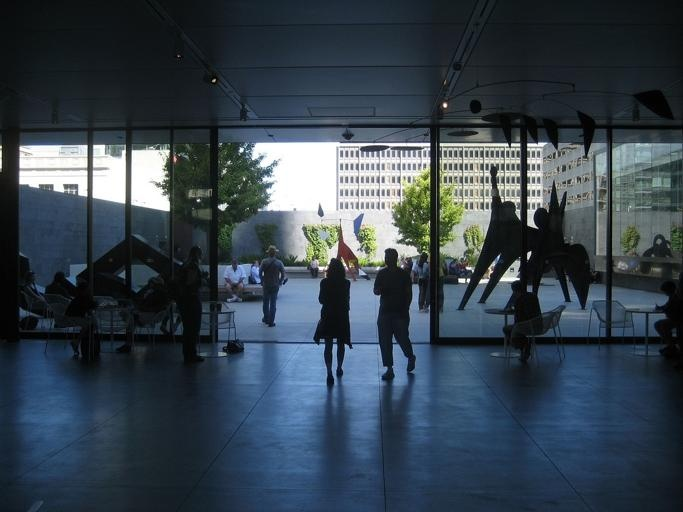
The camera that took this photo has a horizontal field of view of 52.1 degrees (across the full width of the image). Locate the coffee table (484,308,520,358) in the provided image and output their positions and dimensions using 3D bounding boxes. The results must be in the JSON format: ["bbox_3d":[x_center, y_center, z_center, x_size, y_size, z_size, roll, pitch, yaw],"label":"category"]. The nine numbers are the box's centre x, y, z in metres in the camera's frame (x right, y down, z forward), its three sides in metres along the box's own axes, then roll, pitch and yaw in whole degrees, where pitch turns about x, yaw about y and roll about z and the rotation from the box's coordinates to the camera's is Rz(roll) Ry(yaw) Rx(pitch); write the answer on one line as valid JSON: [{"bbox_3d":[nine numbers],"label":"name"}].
[{"bbox_3d":[2.928,1.370,12.589,0.774,0.822,0.797,1,-3,-24],"label":"coffee table"}]

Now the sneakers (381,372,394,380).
[{"bbox_3d":[0.711,1.843,10.814,0.182,0.099,0.188,0,8,0],"label":"sneakers"}]

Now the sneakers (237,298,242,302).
[{"bbox_3d":[-3.183,1.332,21.588,0.100,0.139,0.312,0,-6,-16],"label":"sneakers"}]

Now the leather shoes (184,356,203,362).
[{"bbox_3d":[-2.567,1.776,12.104,0.337,0.089,0.127,-3,9,-20],"label":"leather shoes"}]

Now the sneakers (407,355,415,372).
[{"bbox_3d":[1.108,1.720,11.218,0.108,0.283,0.117,3,-5,2],"label":"sneakers"}]

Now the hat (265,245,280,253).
[{"bbox_3d":[-2.676,-0.305,26.428,0.306,0.444,0.205,7,-5,-3],"label":"hat"}]
